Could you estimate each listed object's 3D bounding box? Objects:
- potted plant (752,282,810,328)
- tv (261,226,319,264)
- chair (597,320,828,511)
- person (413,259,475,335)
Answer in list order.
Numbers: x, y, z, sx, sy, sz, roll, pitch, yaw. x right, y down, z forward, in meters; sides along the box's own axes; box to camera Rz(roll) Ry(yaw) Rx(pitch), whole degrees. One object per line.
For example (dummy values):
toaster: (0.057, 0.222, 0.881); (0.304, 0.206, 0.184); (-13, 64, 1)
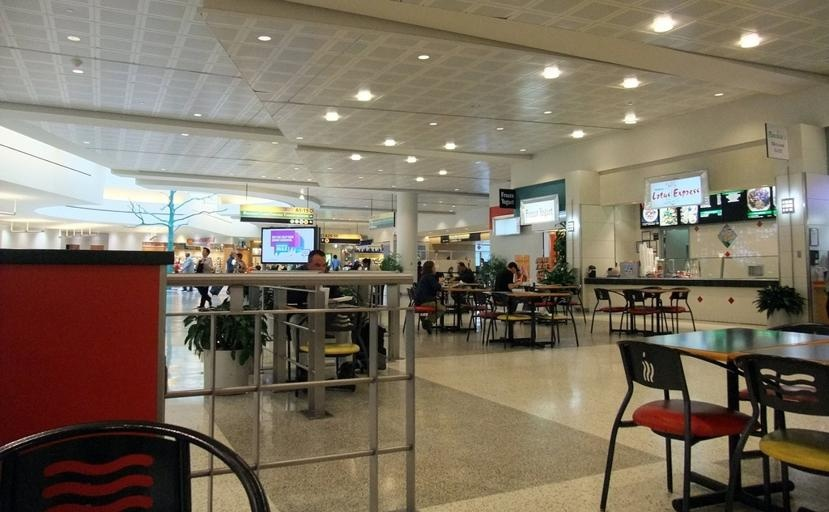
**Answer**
potted plant: (6.265, 0.805, 9.285); (1.086, 0.873, 1.040); (-2, -3, 30)
tv: (-2.140, -0.190, 9.474); (0.877, 0.404, 0.078); (0, 2, -1)
chair: (2.086, 1.055, 3.582); (1.700, 1.064, 0.810); (-1, -5, -24)
person: (0.669, 0.914, 11.742); (1.415, 2.072, 0.998); (-7, 20, -20)
